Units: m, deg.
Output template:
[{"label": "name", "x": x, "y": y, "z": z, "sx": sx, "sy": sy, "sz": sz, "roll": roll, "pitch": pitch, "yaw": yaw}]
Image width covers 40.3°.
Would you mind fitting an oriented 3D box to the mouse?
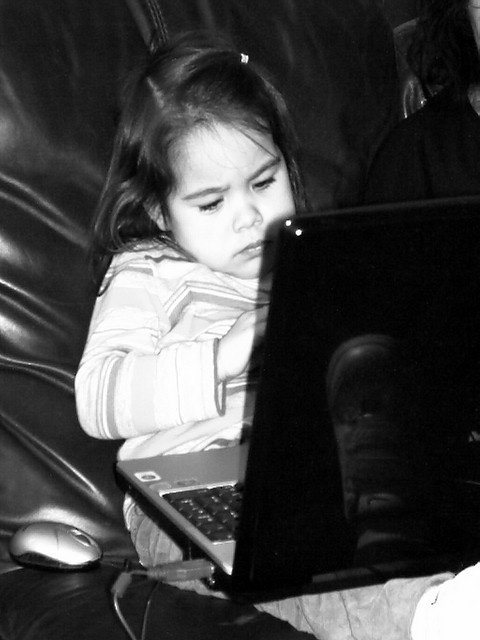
[{"label": "mouse", "x": -0.188, "y": 0.228, "z": 0.680, "sx": 0.069, "sy": 0.021, "sz": 0.051, "roll": 7, "pitch": 10, "yaw": 2}]
